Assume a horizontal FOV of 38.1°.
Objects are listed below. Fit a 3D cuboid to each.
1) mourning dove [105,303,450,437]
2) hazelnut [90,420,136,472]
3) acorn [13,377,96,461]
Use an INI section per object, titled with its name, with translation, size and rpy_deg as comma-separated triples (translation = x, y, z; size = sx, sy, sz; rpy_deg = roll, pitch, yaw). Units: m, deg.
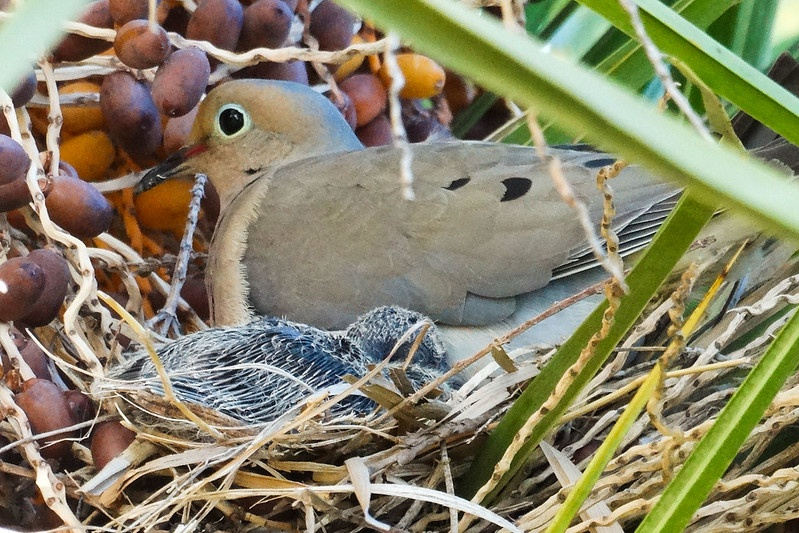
[mourning dove]
translation = -0.081, 0.076, 0.967
size = 0.284, 0.112, 0.090
rpy_deg = -3, 61, -25
[hazelnut]
translation = -0.218, 0.138, 0.886
size = 0.035, 0.025, 0.037
rpy_deg = 1, 48, 0
[acorn]
translation = -0.264, 0.115, 0.893
size = 0.048, 0.061, 0.062
rpy_deg = 0, 91, -3
